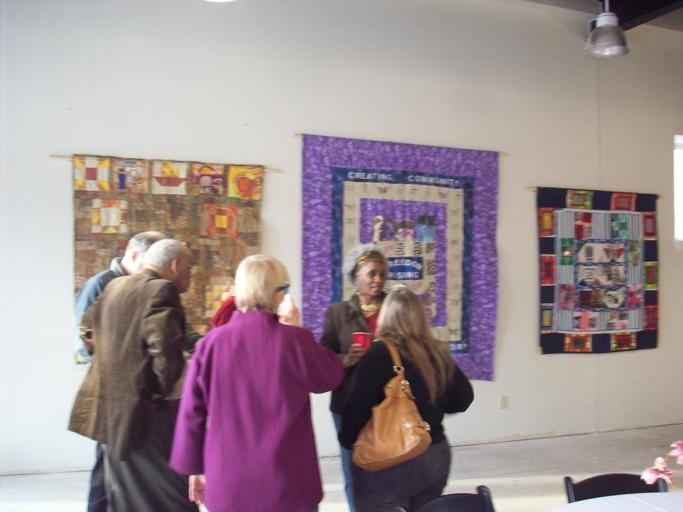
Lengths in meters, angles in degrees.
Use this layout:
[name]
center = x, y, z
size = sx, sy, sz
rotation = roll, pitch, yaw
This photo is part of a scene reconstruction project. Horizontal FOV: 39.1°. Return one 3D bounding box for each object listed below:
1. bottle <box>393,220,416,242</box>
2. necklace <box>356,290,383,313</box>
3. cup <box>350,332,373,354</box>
[bottle]
center = 0.596, -0.251, 9.199
size = 0.241, 0.186, 0.029
rotation = -2, 5, -13
[necklace]
center = 0.245, 0.367, 8.188
size = 0.177, 0.195, 0.081
rotation = -1, 9, -2
[cup]
center = 0.175, 0.700, 7.788
size = 0.165, 0.109, 0.155
rotation = 3, 0, 0
